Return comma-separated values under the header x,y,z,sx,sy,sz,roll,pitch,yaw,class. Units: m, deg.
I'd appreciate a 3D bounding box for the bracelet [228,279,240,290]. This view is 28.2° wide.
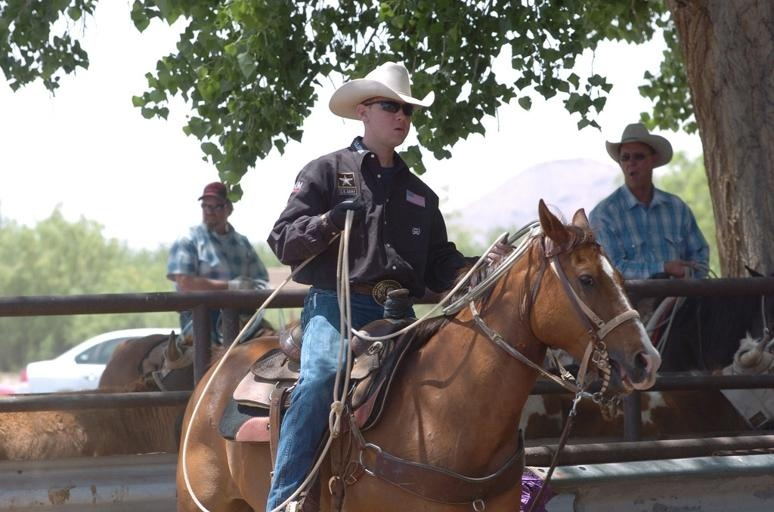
x,y,z,sx,sy,sz,roll,pitch,yaw,class
-1.886,0.349,19.081,0.136,0.104,0.139,0,-6,5,bracelet

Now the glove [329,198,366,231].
x,y,z,sx,sy,sz,roll,pitch,yaw,class
-0.425,-0.487,16.192,0.359,0.357,0.258,19,17,8,glove
